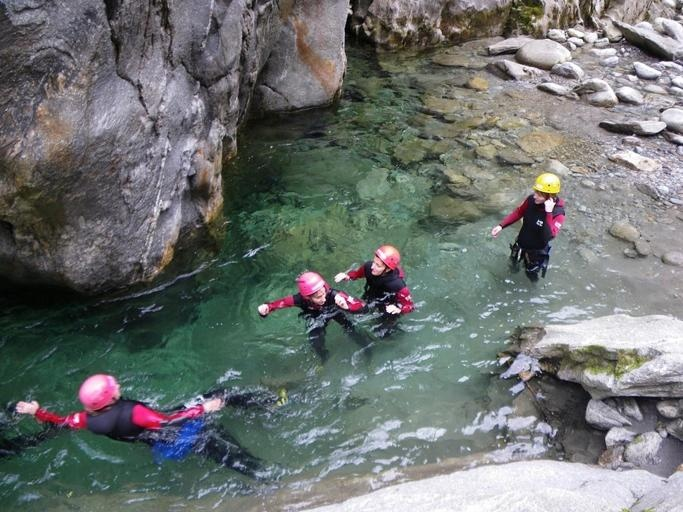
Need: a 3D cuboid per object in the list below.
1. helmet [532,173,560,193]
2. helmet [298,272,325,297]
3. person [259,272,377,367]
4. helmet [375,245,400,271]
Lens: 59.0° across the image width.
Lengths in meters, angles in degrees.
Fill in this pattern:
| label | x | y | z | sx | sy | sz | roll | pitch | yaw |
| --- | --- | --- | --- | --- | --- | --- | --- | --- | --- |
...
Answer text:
| label | x | y | z | sx | sy | sz | roll | pitch | yaw |
| --- | --- | --- | --- | --- | --- | --- | --- | --- | --- |
| helmet | 3.032 | -1.087 | 8.904 | 0.317 | 0.291 | 0.442 | 8 | 23 | 22 |
| helmet | -0.453 | 0.354 | 8.076 | 0.274 | 0.274 | 0.345 | -46 | 19 | -30 |
| person | -0.311 | 0.759 | 8.375 | 1.384 | 1.266 | 0.619 | -1 | 21 | 0 |
| helmet | 0.683 | -0.009 | 8.403 | 0.337 | 0.278 | 0.283 | 14 | 38 | -23 |
